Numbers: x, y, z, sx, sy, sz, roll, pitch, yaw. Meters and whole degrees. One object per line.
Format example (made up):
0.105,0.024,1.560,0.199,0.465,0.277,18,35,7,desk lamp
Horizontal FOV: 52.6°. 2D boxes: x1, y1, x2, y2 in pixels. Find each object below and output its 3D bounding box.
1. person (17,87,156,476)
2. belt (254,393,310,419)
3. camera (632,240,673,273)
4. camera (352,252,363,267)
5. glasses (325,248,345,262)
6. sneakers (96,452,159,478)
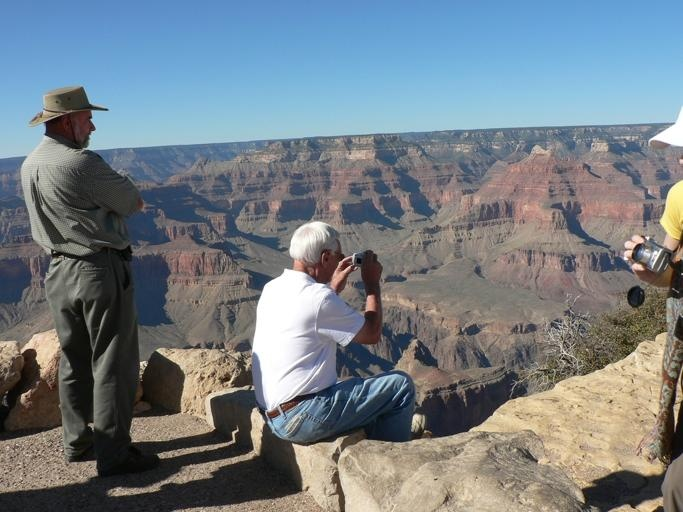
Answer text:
-2.112,0.221,5.804,0.859,3.237,0.554,-4,7,-3,person
-0.441,1.185,5.456,0.279,0.084,0.279,-26,4,-34,belt
2.264,-0.018,5.091,0.212,0.190,0.303,16,16,-11,camera
0.130,0.031,5.681,0.111,0.146,0.082,4,0,-5,camera
-0.048,-0.013,5.481,0.119,0.035,0.114,19,3,16,glasses
-1.803,1.717,5.838,0.504,0.208,0.169,-3,4,-26,sneakers
